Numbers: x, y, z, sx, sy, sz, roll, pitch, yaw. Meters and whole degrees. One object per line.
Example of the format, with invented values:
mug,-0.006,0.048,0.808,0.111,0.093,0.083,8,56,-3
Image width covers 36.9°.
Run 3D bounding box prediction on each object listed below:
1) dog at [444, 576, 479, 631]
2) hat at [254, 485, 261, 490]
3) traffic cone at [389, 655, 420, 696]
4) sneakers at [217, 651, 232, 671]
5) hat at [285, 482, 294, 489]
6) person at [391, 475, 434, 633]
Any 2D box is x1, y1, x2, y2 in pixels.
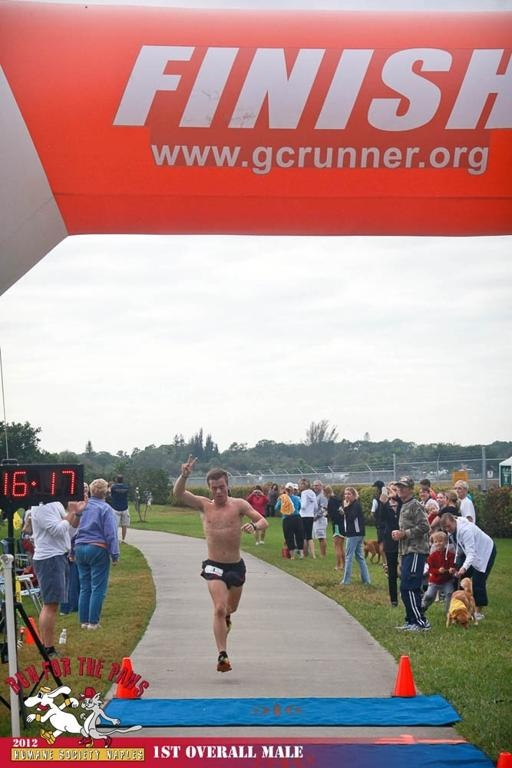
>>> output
dog,2.687,2.862,10.099,0.347,0.595,0.548,-3,-8,23
hat,0.044,2.723,20.311,0.174,0.201,0.075,2,-15,-22
traffic cone,1.310,2.543,6.788,0.207,0.382,0.595,-1,-8,11
sneakers,-0.274,2.407,6.653,0.108,0.120,0.266,-2,-28,-2
hat,0.766,2.362,17.651,0.209,0.165,0.146,-4,8,-37
person,1.974,2.153,9.800,0.458,1.903,0.528,-1,-8,8
